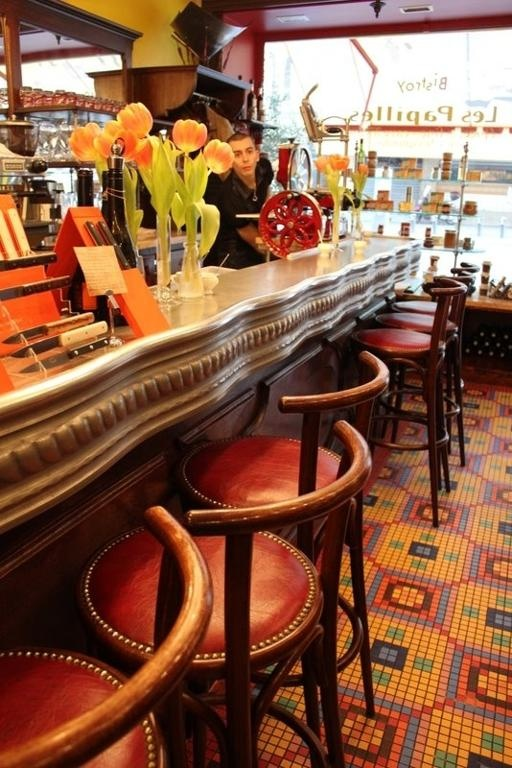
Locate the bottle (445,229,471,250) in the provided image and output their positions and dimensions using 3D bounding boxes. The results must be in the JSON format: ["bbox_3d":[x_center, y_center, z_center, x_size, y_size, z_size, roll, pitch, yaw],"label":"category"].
[{"bbox_3d":[1.789,-1.260,4.760,0.241,0.176,0.145,0,16,1],"label":"bottle"}]

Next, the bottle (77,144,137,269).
[{"bbox_3d":[-0.303,-0.377,1.170,0.070,0.256,0.107,-5,22,-13],"label":"bottle"}]

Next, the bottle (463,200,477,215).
[{"bbox_3d":[1.810,-1.502,4.602,0.112,0.109,0.114,0,20,4],"label":"bottle"}]
